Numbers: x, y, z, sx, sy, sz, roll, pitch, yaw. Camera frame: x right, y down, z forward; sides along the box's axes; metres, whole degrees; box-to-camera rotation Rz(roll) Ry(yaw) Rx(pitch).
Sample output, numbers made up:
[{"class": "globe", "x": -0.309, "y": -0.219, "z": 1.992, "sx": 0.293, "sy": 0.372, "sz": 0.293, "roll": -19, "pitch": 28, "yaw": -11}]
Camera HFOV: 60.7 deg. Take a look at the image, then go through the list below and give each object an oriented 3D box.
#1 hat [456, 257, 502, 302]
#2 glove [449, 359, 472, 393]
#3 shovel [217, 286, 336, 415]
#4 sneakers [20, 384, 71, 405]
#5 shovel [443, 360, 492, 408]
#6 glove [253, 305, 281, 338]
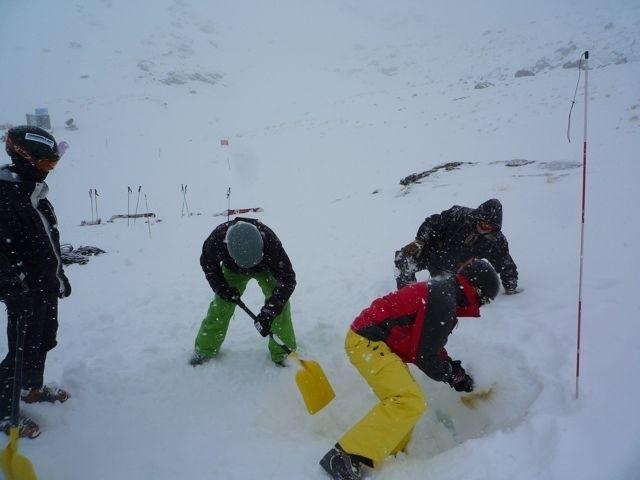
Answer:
[{"class": "hat", "x": 2.483, "y": 0.551, "z": 8.353, "sx": 0.521, "sy": 0.680, "sz": 0.490, "roll": -34, "pitch": -6, "yaw": -4}, {"class": "glove", "x": 2.198, "y": 2.151, "z": 8.583, "sx": 0.500, "sy": 0.244, "sz": 0.384, "roll": 28, "pitch": 31, "yaw": -27}, {"class": "shovel", "x": -0.750, "y": 1.897, "z": 9.045, "sx": 0.538, "sy": 2.388, "sz": 0.240, "roll": -38, "pitch": -5, "yaw": -22}, {"class": "sneakers", "x": -4.158, "y": 2.366, "z": 8.322, "sx": 0.619, "sy": 0.310, "sz": 0.236, "roll": -2, "pitch": 3, "yaw": -23}, {"class": "shovel", "x": 2.326, "y": 2.322, "z": 8.603, "sx": 0.790, "sy": 0.580, "sz": 0.283, "roll": 47, "pitch": 8, "yaw": 21}, {"class": "glove", "x": -0.855, "y": 1.290, "z": 8.685, "sx": 0.352, "sy": 0.470, "sz": 0.176, "roll": 36, "pitch": 7, "yaw": 25}]
